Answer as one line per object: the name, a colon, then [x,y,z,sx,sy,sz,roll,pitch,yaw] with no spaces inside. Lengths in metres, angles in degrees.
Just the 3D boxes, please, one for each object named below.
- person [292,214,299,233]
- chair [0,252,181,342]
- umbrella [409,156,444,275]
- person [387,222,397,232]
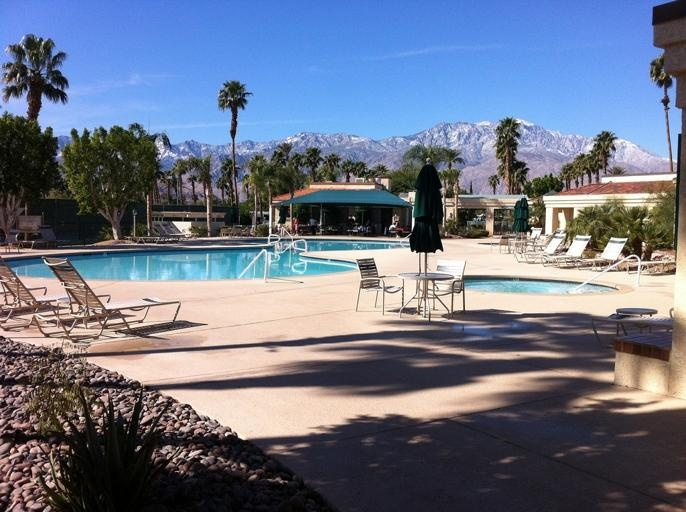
person: [-3.475,-2.205,42.401,0.509,1.022,1.942,-4,6,-4]
chair: [-4.175,0.584,9.402,2.613,1.253,1.774,1,8,38]
umbrella: [1.541,-0.726,10.849,0.622,2.029,0.611,-2,6,9]
person: [3.492,-2.096,41.879,0.937,0.468,1.313,0,1,3]
